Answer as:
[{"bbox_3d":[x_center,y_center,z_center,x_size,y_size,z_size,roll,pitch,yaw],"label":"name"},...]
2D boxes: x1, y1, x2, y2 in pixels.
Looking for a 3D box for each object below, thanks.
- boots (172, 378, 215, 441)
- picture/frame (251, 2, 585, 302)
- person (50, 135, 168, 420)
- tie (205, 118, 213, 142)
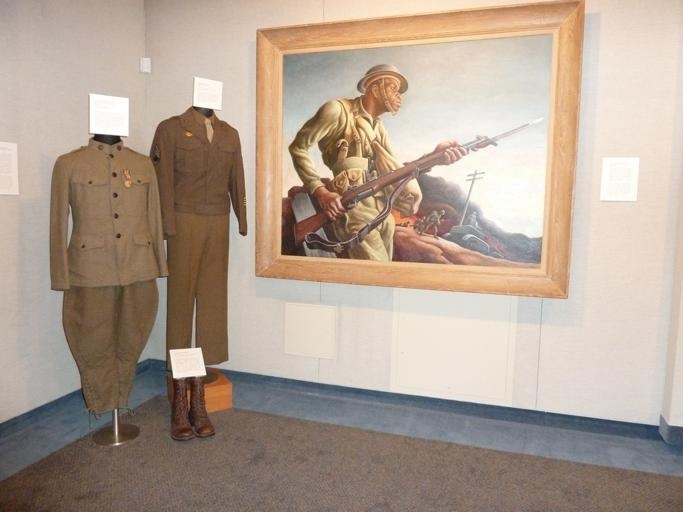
[{"bbox_3d":[-1.020,1.069,4.250,0.292,0.383,0.401,4,-12,-33],"label":"boots"},{"bbox_3d":[0.637,-0.791,4.313,2.175,1.867,0.095,2,5,19],"label":"picture/frame"},{"bbox_3d":[-1.526,0.130,3.991,0.715,1.805,0.243,-2,8,-26],"label":"person"},{"bbox_3d":[-0.956,-0.912,4.390,0.043,0.160,0.063,8,10,44],"label":"tie"}]
